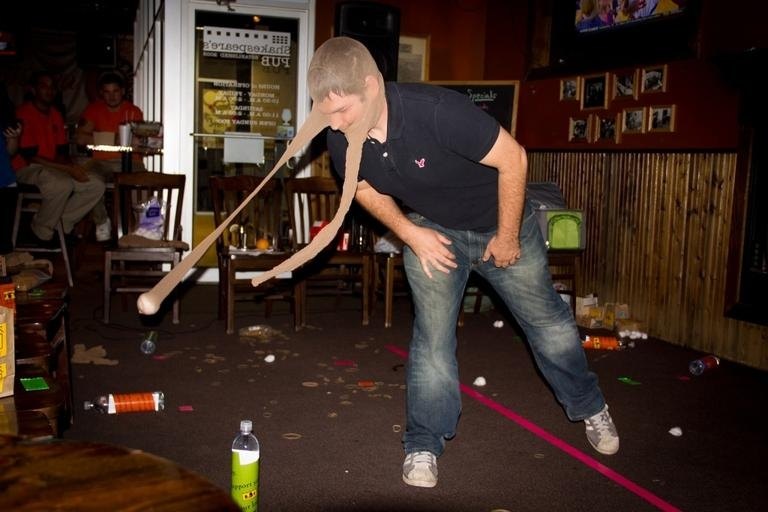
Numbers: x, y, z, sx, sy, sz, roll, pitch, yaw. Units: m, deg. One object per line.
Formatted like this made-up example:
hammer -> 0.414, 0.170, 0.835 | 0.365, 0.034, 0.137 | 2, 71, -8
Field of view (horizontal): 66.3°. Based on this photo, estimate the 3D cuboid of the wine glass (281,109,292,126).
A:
wine glass -> -1.167, -1.660, 7.007 | 0.152, 0.214, 0.162 | 0, 7, 0

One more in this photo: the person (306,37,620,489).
person -> 0.368, -0.009, 3.317 | 1.375, 2.483, 0.953 | -14, 12, -14
